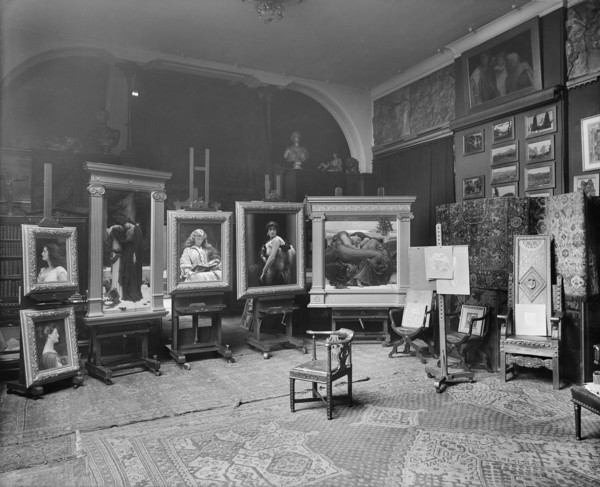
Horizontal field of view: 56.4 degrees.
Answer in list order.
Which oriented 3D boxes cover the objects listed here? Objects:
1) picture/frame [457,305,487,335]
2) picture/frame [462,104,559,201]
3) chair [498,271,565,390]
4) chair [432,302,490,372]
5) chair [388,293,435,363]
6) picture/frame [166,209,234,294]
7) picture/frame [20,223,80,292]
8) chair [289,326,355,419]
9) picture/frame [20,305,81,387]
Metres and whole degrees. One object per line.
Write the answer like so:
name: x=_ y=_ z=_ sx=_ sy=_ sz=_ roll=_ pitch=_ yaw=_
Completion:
picture/frame: x=2.847 y=1.279 z=9.222 sx=0.032 sy=0.491 sz=0.415 roll=18 pitch=-9 yaw=-42
picture/frame: x=4.107 y=-1.776 z=10.755 sx=0.091 sy=1.891 sz=1.960 roll=0 pitch=-1 yaw=-34
chair: x=3.594 y=1.383 z=8.725 sx=0.838 sy=1.604 sz=0.763 roll=1 pitch=-5 yaw=24
chair: x=2.684 y=1.530 z=9.209 sx=0.666 sy=0.971 sz=0.729 roll=-1 pitch=1 yaw=-21
chair: x=2.027 y=1.468 z=10.171 sx=0.744 sy=1.189 sz=0.817 roll=-2 pitch=-4 yaw=43
picture/frame: x=-1.764 y=0.135 z=9.551 sx=1.302 sy=1.788 sz=0.170 roll=0 pitch=-2 yaw=-29
picture/frame: x=-3.767 y=0.227 z=8.367 sx=0.941 sy=1.353 sz=0.132 roll=1 pitch=-5 yaw=-43
chair: x=0.286 y=1.773 z=7.767 sx=0.811 sy=1.145 sz=0.934 roll=0 pitch=1 yaw=-7
picture/frame: x=-3.691 y=1.495 z=8.251 sx=0.772 sy=1.079 sz=0.579 roll=-7 pitch=12 yaw=-32
